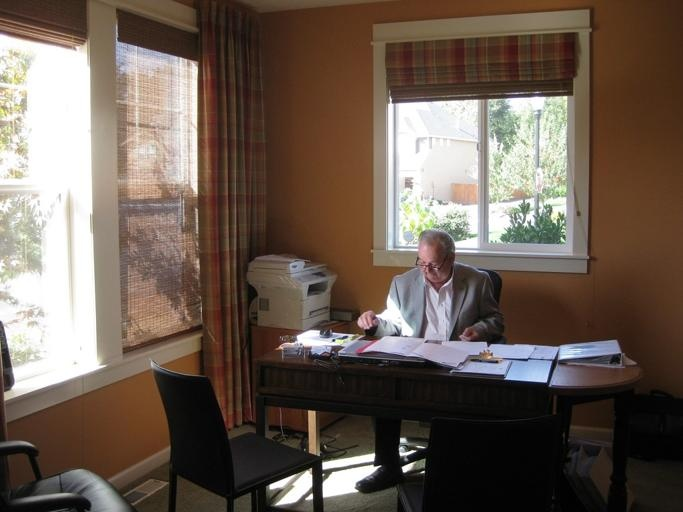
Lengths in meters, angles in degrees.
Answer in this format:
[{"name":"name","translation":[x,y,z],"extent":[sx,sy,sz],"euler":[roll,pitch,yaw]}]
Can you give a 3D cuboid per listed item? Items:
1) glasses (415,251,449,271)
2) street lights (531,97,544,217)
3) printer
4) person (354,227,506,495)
[{"name":"glasses","translation":[0.562,0.050,3.583],"extent":[0.194,0.096,0.101],"euler":[0,9,10]},{"name":"street lights","translation":[1.452,-0.696,4.252],"extent":[0.055,0.779,0.057],"euler":[-1,8,7]},{"name":"printer","translation":[-0.345,0.215,4.400],"extent":[0.514,0.626,0.541],"euler":[1,2,26]},{"name":"person","translation":[0.567,0.647,3.640],"extent":[0.969,1.640,0.834],"euler":[6,-8,-38]}]
